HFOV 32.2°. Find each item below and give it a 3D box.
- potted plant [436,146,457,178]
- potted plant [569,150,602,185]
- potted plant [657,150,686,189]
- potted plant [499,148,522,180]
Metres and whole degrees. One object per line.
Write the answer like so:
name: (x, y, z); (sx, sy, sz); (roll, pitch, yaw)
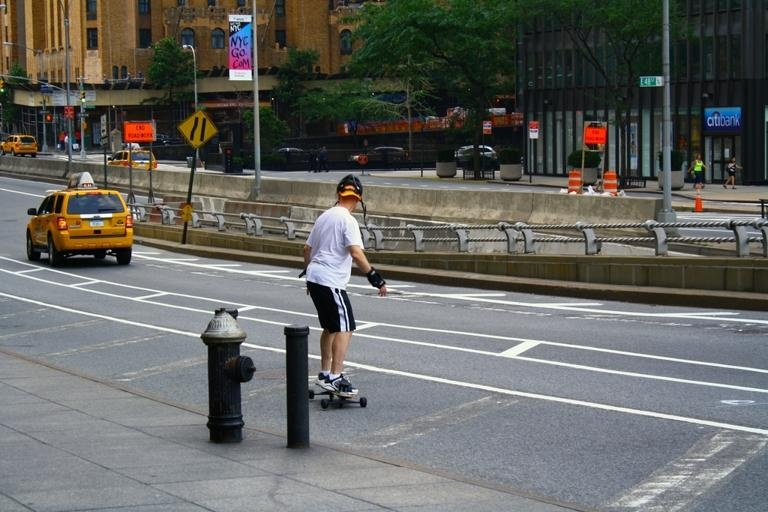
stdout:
potted plant: (3.590, -5.219, 76.433); (1.512, 2.110, 1.500); (0, -5, 10)
potted plant: (10.080, -4.479, 66.903); (1.741, 1.691, 1.667); (-1, 0, 38)
potted plant: (13.238, -4.012, 62.181); (1.226, 1.790, 1.064); (-2, 5, -10)
potted plant: (6.671, -5.038, 72.363); (1.510, 1.930, 1.504); (1, 10, 24)
